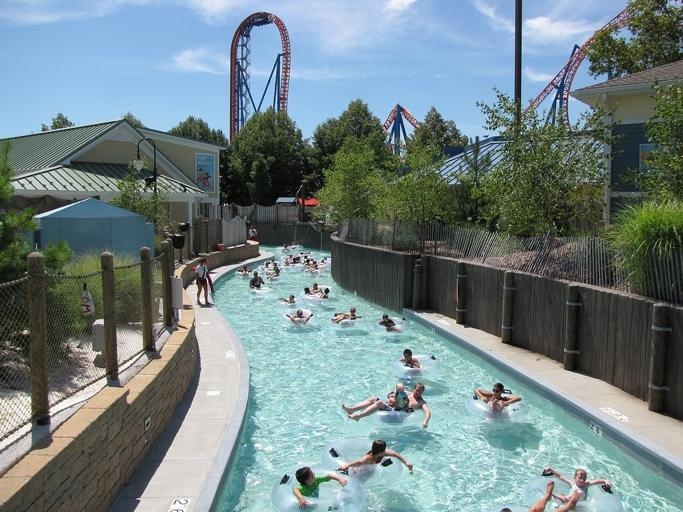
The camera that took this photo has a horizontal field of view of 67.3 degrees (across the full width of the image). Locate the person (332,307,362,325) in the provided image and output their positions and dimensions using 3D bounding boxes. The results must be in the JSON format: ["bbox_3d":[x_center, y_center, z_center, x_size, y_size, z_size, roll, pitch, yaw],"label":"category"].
[{"bbox_3d":[0.198,2.151,18.013,0.741,0.373,0.533,-4,7,-41],"label":"person"}]
